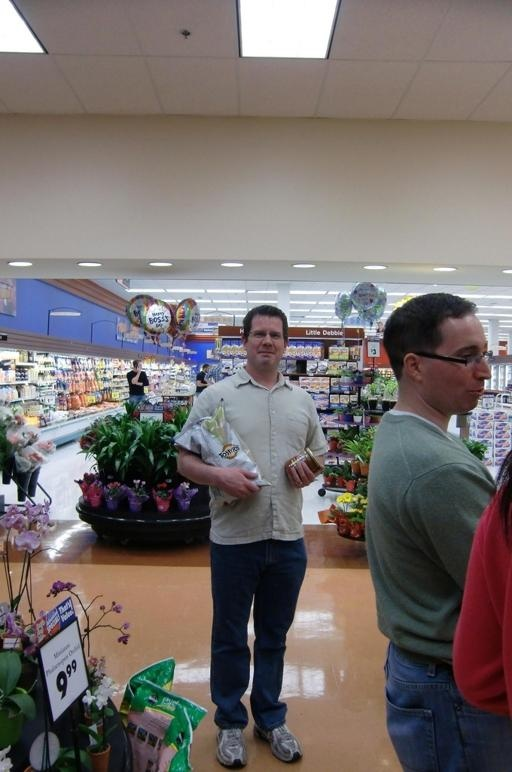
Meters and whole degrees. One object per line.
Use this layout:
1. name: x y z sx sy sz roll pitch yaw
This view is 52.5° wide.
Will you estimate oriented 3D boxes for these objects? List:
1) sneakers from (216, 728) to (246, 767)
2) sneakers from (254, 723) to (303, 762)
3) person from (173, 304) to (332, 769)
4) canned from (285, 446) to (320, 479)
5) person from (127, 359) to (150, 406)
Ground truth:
1. sneakers: -0.080 1.273 1.836 0.065 0.069 0.152 4 -15 -7
2. sneakers: 0.085 1.299 1.923 0.078 0.063 0.149 5 -9 -32
3. person: -0.003 0.515 1.966 0.579 1.625 0.403 2 0 -13
4. canned: 0.167 0.289 1.905 0.097 0.095 0.034 -34 12 -19
5. person: -2.413 -0.129 10.550 0.412 0.881 1.376 2 0 -14
